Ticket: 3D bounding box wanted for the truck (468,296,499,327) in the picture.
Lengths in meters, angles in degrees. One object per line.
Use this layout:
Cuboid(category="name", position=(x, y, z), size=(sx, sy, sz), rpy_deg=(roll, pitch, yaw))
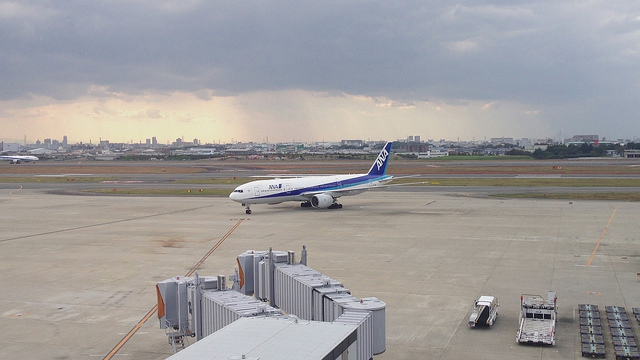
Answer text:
Cuboid(category="truck", position=(13.011, 10.373, 48.752), size=(1.728, 0.939, 3.400), rpy_deg=(-1, 18, 28))
